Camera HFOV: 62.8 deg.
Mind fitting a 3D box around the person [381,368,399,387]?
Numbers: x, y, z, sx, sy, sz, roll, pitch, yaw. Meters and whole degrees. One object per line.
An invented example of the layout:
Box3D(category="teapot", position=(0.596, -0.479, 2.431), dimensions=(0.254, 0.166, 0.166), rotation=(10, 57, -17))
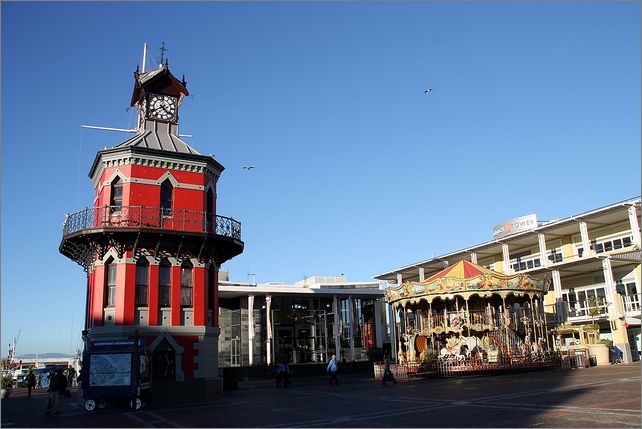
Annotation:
Box3D(category="person", position=(3.983, 9.650, 31.259), dimensions=(0.791, 0.882, 0.769), rotation=(-6, -17, 7))
